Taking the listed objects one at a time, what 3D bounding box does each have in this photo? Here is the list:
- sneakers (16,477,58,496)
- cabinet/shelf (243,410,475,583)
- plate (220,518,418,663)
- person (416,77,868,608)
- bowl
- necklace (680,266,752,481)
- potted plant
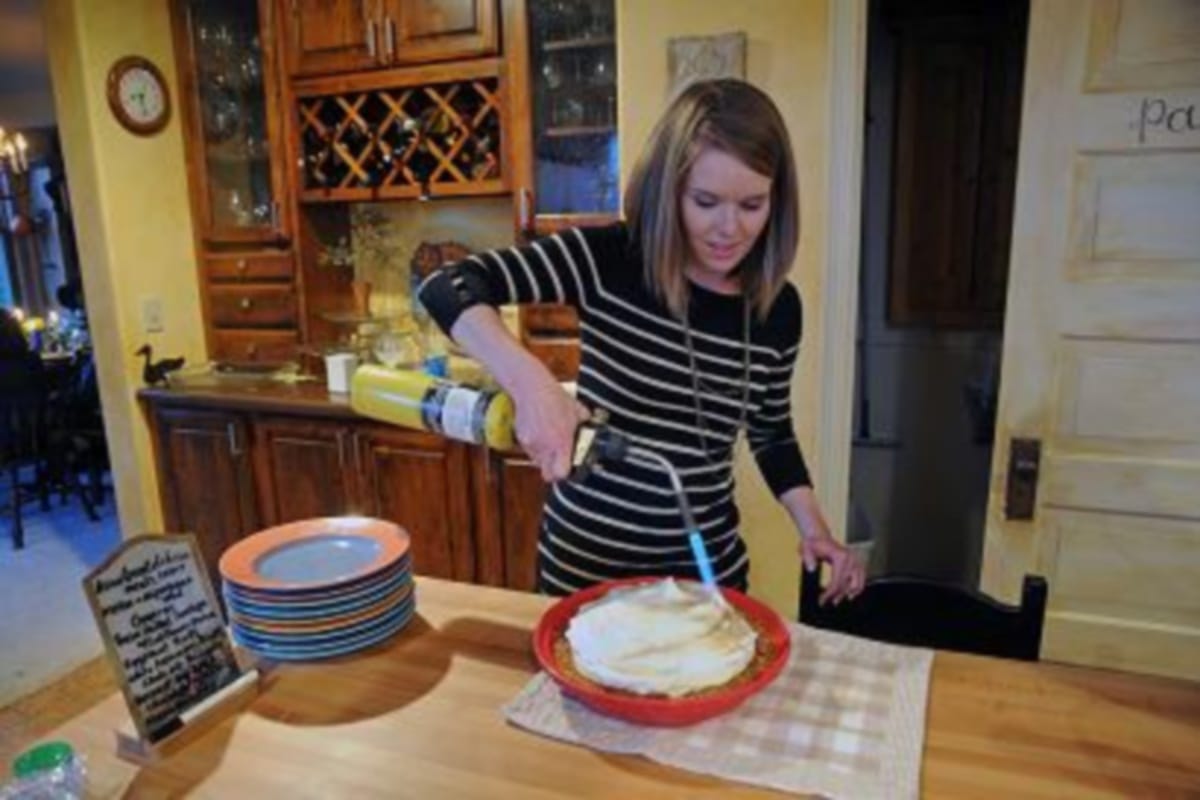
[{"bbox_3d":[-3.714,0.577,5.013,0.230,0.098,0.226,0,5,0],"label":"sneakers"},{"bbox_3d":[-1.046,0.480,3.606,1.031,0.930,0.404,4,18,15],"label":"cabinet/shelf"},{"bbox_3d":[-0.670,0.435,1.767,0.349,0.145,0.341,0,12,0],"label":"plate"},{"bbox_3d":[0.134,-0.098,1.874,0.951,1.308,0.437,-5,15,-9],"label":"person"},{"bbox_3d":[0.096,0.526,1.544,0.342,0.067,0.335,0,16,0],"label":"bowl"},{"bbox_3d":[0.313,-0.029,2.006,0.169,0.691,0.024,6,43,16],"label":"necklace"},{"bbox_3d":[-1.235,-0.736,4.238,0.560,0.690,0.545,1,-1,4],"label":"potted plant"}]
